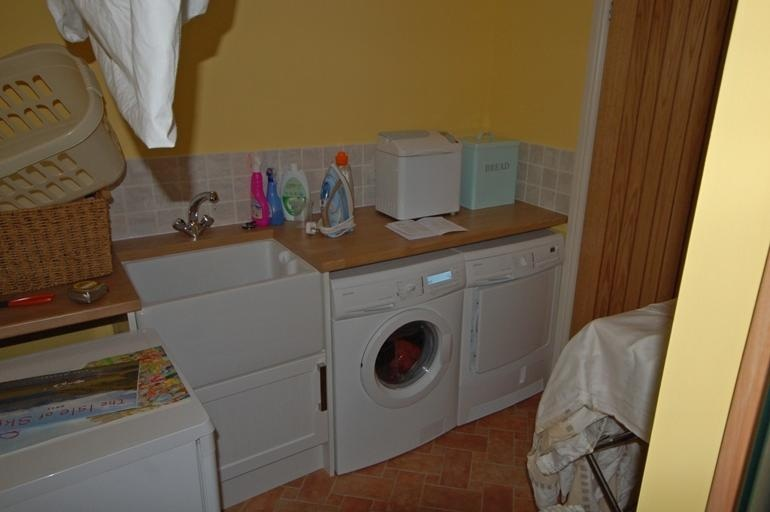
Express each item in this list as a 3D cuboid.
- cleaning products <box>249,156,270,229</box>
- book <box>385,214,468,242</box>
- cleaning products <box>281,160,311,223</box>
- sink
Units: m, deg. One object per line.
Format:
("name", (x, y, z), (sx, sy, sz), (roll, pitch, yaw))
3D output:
("cleaning products", (-0.681, -0.337, 2.753), (0.105, 0.338, 0.193), (-10, 26, -13))
("book", (0.190, -0.143, 2.720), (0.231, 0.020, 0.174), (-11, 31, -21))
("cleaning products", (-0.492, -0.355, 2.839), (0.164, 0.303, 0.165), (-8, 26, -8))
("sink", (-0.767, 0.072, 2.368), (0.687, 0.448, 0.669), (-13, 26, -30))
